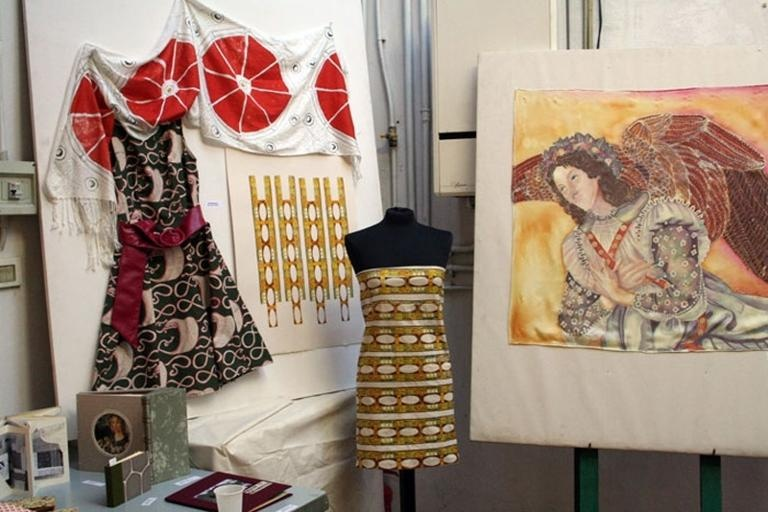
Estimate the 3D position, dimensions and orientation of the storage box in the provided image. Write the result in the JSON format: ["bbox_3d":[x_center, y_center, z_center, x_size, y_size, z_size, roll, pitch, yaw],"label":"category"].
[{"bbox_3d":[-1.003,0.640,3.316,0.280,0.258,0.178,-5,4,-16],"label":"storage box"}]
